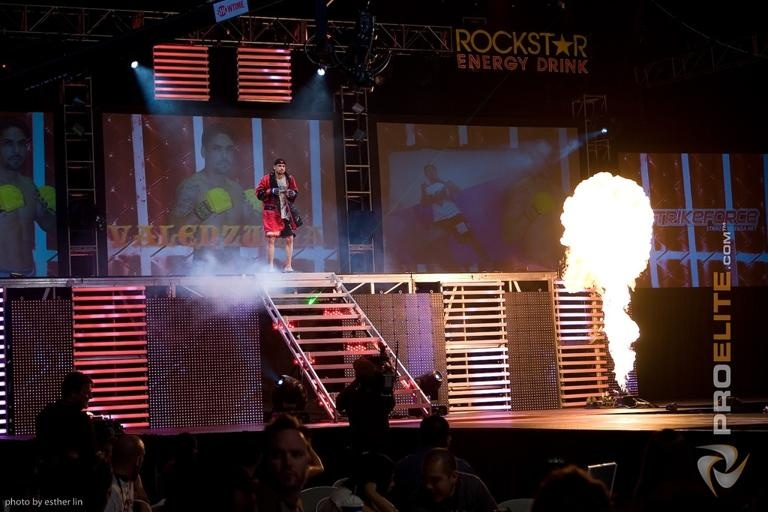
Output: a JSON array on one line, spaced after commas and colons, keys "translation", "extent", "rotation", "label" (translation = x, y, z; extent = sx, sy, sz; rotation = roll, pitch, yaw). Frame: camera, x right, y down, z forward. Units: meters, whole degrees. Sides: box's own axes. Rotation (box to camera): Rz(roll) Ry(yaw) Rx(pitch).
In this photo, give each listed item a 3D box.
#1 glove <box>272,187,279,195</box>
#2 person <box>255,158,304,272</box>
[{"translation": [-2.245, -1.346, 18.922], "extent": [0.158, 0.139, 0.108], "rotation": [-1, 0, 14], "label": "glove"}, {"translation": [-2.197, -0.823, 18.987], "extent": [0.899, 2.298, 0.701], "rotation": [0, -1, -9], "label": "person"}]
